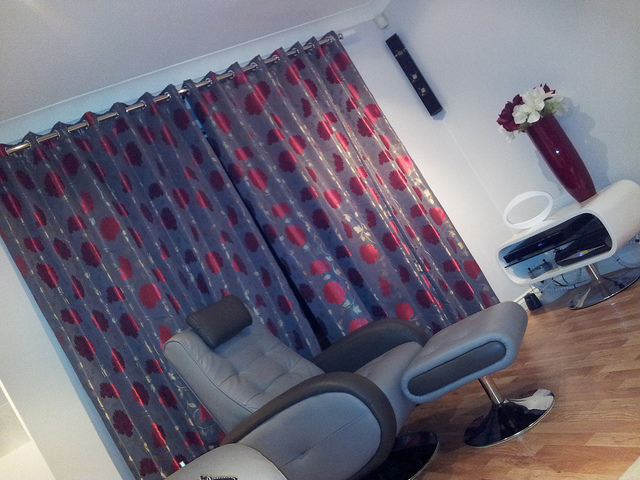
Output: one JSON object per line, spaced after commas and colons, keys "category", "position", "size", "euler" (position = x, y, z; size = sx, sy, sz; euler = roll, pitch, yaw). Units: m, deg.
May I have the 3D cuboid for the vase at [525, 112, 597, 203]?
{"category": "vase", "position": [1.652, -0.541, 3.331], "size": [0.236, 0.625, 0.248], "euler": [-32, 0, -26]}

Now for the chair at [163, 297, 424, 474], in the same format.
{"category": "chair", "position": [-0.125, 0.779, 2.556], "size": [1.101, 0.798, 1.102], "euler": [-8, 2, 17]}
